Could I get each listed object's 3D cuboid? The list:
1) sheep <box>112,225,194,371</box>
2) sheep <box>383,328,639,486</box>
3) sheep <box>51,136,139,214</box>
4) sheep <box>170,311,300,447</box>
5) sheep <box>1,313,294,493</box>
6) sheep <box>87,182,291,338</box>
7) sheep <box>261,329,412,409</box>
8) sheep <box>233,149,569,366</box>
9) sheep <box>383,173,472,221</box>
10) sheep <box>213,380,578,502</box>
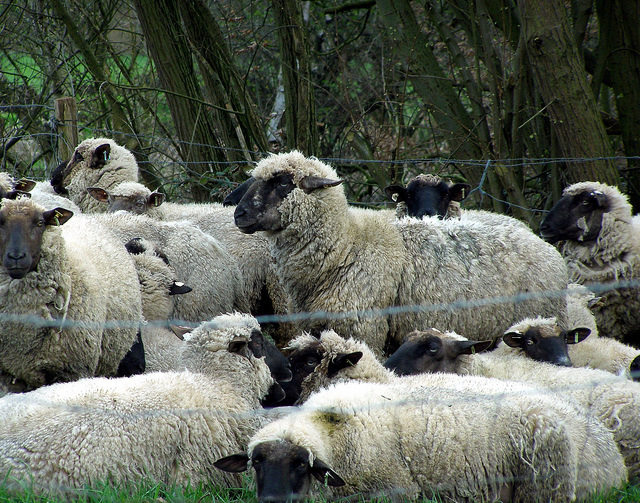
[{"bbox_3d":[-1.563,0.455,9.486,0.647,1.352,0.927,0,-18,7],"label":"sheep"},{"bbox_3d":[1.741,1.234,8.316,2.301,1.191,0.913,12,-4,5],"label":"sheep"},{"bbox_3d":[-2.621,-0.866,11.514,0.662,0.739,0.695,36,-8,13],"label":"sheep"},{"bbox_3d":[-0.665,0.942,7.996,1.223,0.978,0.693,3,-4,-40],"label":"sheep"},{"bbox_3d":[-1.416,1.099,7.771,1.958,1.210,1.106,-2,6,-35],"label":"sheep"},{"bbox_3d":[-1.485,-0.033,11.465,2.712,1.860,1.119,9,1,7],"label":"sheep"},{"bbox_3d":[0.118,0.941,8.244,0.896,0.523,0.670,-1,-5,13],"label":"sheep"},{"bbox_3d":[0.854,0.474,9.474,3.334,2.405,1.293,7,0,-9],"label":"sheep"},{"bbox_3d":[1.146,-0.559,10.319,0.486,0.479,0.750,-3,3,-1],"label":"sheep"},{"bbox_3d":[0.701,1.399,7.694,2.364,1.341,1.057,-1,-16,4],"label":"sheep"}]
